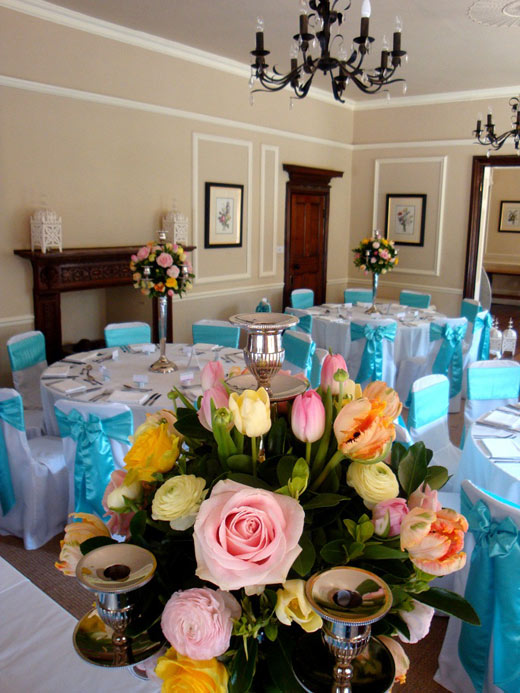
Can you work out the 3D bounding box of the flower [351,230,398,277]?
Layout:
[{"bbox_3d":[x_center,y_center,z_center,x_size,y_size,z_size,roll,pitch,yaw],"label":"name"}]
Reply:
[{"bbox_3d":[1.360,-1.040,5.824,0.500,0.542,0.505,7,23,19],"label":"flower"}]

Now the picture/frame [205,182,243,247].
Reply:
[{"bbox_3d":[-0.487,-1.698,6.364,0.064,0.944,0.795,10,15,40],"label":"picture/frame"}]

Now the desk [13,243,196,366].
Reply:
[{"bbox_3d":[-1.472,-0.379,4.439,1.121,1.009,0.332,-13,21,-40],"label":"desk"}]

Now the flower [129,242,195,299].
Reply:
[{"bbox_3d":[-0.649,-0.470,3.280,0.375,0.334,0.380,4,12,-2],"label":"flower"}]
